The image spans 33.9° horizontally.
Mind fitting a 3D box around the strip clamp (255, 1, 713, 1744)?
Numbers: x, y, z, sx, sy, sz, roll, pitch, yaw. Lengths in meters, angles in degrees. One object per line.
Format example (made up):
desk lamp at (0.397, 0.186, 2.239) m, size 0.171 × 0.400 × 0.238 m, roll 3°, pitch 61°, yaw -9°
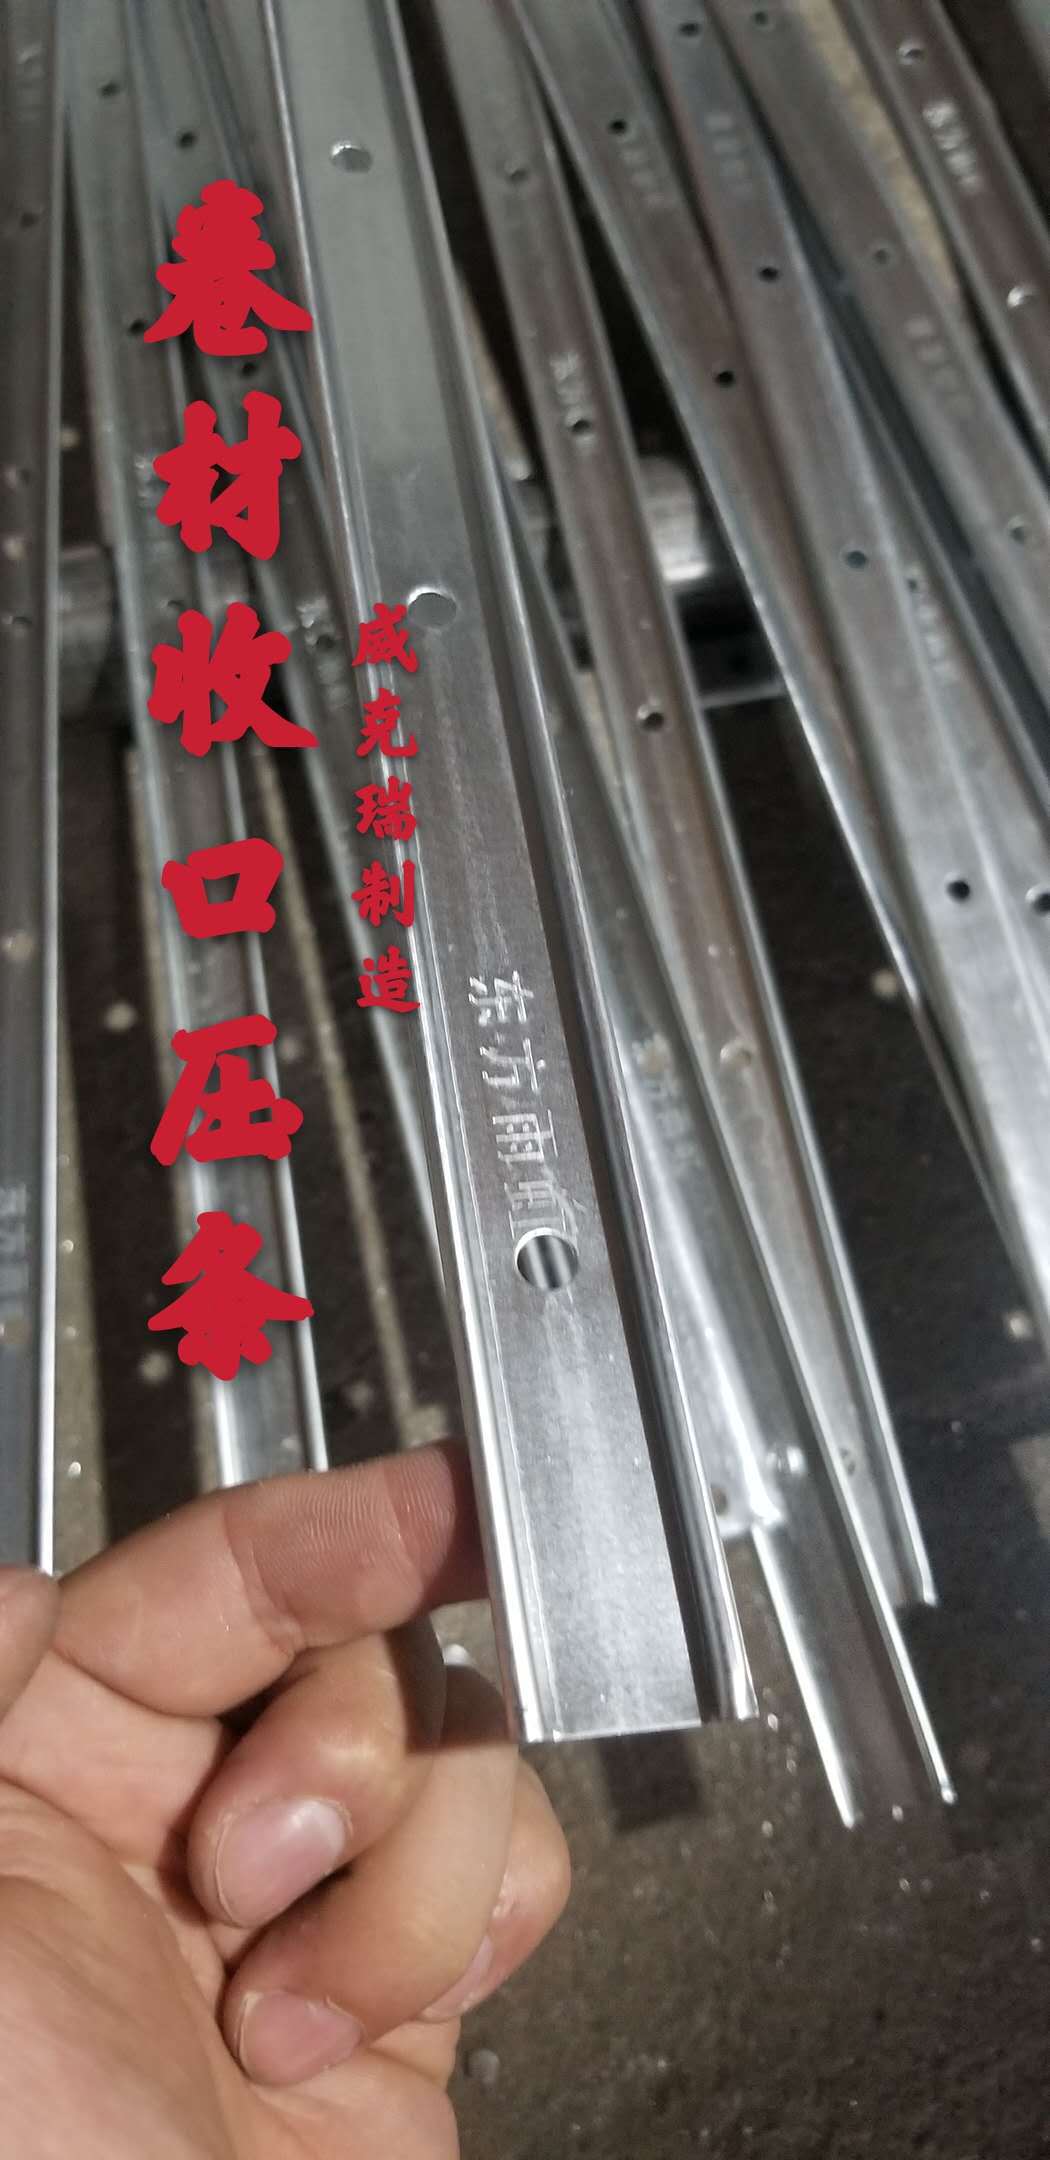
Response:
strip clamp at (-0.077, -0.248, 0.850) m, size 0.108 × 1.068 × 0.080 m, roll -5°, pitch -29°, yaw -16°
